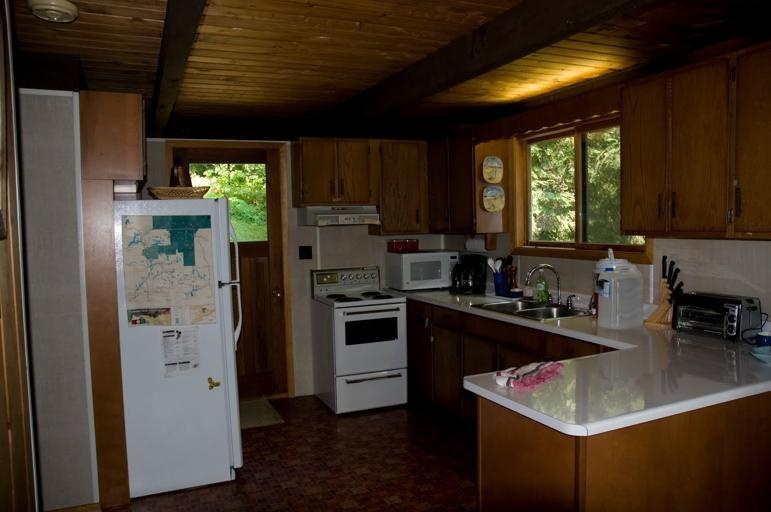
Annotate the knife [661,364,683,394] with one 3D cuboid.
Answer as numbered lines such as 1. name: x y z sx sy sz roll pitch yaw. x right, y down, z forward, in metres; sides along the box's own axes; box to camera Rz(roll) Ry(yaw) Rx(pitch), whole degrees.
1. knife: 1.547 0.661 3.072 0.097 0.010 0.374 3 11 26

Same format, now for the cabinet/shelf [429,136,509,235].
1. cabinet/shelf: 0.825 -0.678 5.448 0.400 0.951 1.008 -1 0 -22

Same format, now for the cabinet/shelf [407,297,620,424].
1. cabinet/shelf: 0.917 0.703 4.007 0.368 0.579 1.231 0 5 -22

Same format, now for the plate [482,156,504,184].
1. plate: 1.005 -0.788 5.289 0.230 0.251 0.065 -7 10 -25

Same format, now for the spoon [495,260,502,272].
1. spoon: 1.055 0.093 5.310 0.019 0.094 0.064 -1 -8 -15

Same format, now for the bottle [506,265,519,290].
1. bottle: 1.163 0.200 5.228 0.084 0.203 0.230 0 10 17

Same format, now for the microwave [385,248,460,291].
1. microwave: 0.322 0.128 5.809 0.613 0.341 0.419 -3 5 -22

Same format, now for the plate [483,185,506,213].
1. plate: 1.015 -0.527 5.316 0.219 0.255 0.067 -6 9 -21

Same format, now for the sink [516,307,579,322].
1. sink: 1.283 0.465 4.653 0.273 0.096 0.205 -2 3 -34

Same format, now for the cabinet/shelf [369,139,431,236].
1. cabinet/shelf: 0.178 -0.706 5.882 0.554 0.938 0.179 -3 9 -6

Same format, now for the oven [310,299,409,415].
1. oven: -0.285 0.929 5.728 0.920 1.082 0.841 -2 0 -13

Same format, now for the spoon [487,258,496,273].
1. spoon: 0.980 0.097 5.278 0.028 0.155 0.054 -11 18 33

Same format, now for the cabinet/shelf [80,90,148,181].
1. cabinet/shelf: -1.908 -0.817 3.926 0.407 0.600 0.100 -5 9 -14

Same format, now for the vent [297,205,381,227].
1. vent: -0.432 -0.402 5.643 0.741 0.203 0.227 -4 9 -9

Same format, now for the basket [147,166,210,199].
1. basket: -1.582 -0.516 4.354 0.421 0.195 0.339 -1 8 0

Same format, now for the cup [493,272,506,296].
1. cup: 1.050 0.263 5.178 0.109 0.205 0.163 -1 9 9
